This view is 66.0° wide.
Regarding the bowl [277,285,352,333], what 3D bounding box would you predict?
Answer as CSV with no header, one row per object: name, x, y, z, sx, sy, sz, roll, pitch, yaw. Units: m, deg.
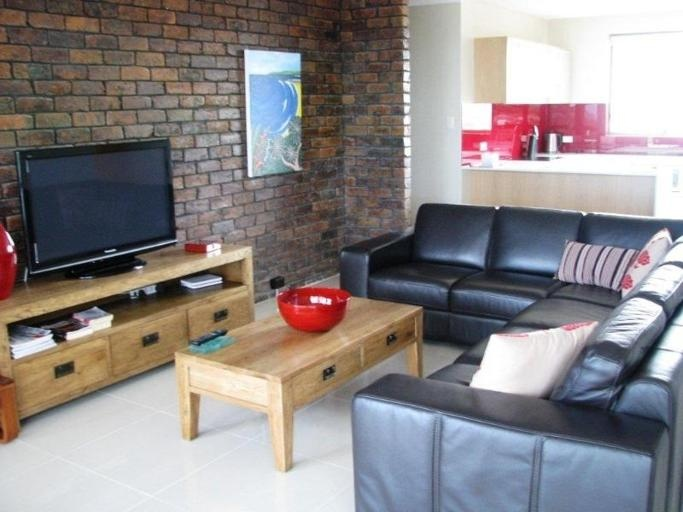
bowl,-0.153,0.336,3.013,0.411,0.169,0.408,2,5,0

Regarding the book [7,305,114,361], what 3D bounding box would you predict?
book,-1.681,0.454,3.136,0.413,0.084,0.278,-15,17,-39

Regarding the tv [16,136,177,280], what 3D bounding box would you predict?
tv,-1.629,-0.311,3.434,0.293,0.644,1.026,10,16,31

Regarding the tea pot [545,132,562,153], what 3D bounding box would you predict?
tea pot,3.377,-1.788,8.372,0.234,0.306,0.430,4,16,21
